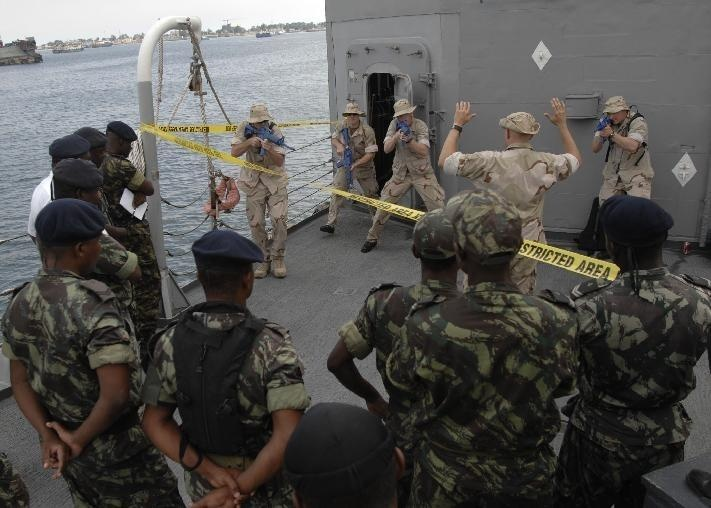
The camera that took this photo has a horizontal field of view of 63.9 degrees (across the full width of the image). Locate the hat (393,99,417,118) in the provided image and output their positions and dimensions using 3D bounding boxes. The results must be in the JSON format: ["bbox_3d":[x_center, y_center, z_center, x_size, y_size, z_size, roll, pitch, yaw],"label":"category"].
[{"bbox_3d":[0.641,-1.853,7.223,0.245,0.141,0.273,-13,15,44],"label":"hat"}]

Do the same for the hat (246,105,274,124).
[{"bbox_3d":[-1.157,-1.636,6.801,0.234,0.144,0.317,-7,27,-8],"label":"hat"}]

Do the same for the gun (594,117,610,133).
[{"bbox_3d":[2.886,-1.482,6.577,0.111,0.261,0.068,26,-6,19],"label":"gun"}]

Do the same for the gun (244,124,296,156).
[{"bbox_3d":[-1.046,-1.358,6.745,0.645,0.334,0.106,24,35,16],"label":"gun"}]

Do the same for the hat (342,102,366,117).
[{"bbox_3d":[-0.028,-1.936,7.768,0.256,0.142,0.293,0,4,2],"label":"hat"}]

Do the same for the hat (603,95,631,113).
[{"bbox_3d":[3.044,-1.701,6.548,0.286,0.145,0.209,-9,11,-24],"label":"hat"}]

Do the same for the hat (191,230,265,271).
[{"bbox_3d":[-0.649,-0.016,2.983,0.407,0.158,0.457,2,15,-9],"label":"hat"}]

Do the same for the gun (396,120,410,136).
[{"bbox_3d":[0.622,-1.592,7.205,0.138,0.192,0.076,-19,-19,20],"label":"gun"}]

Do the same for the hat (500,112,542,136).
[{"bbox_3d":[1.438,-1.123,4.915,0.294,0.192,0.424,6,21,19],"label":"hat"}]

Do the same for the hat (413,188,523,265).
[{"bbox_3d":[0.547,-0.112,2.475,0.266,0.191,0.366,-14,39,-8],"label":"hat"}]

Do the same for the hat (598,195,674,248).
[{"bbox_3d":[1.393,-0.158,2.816,0.325,0.231,0.170,10,22,28],"label":"hat"}]

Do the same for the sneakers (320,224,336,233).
[{"bbox_3d":[-0.393,-0.377,8.260,0.206,0.101,0.197,13,39,-2],"label":"sneakers"}]

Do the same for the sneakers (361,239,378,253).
[{"bbox_3d":[0.193,-0.099,7.568,0.097,0.118,0.288,6,15,31],"label":"sneakers"}]
